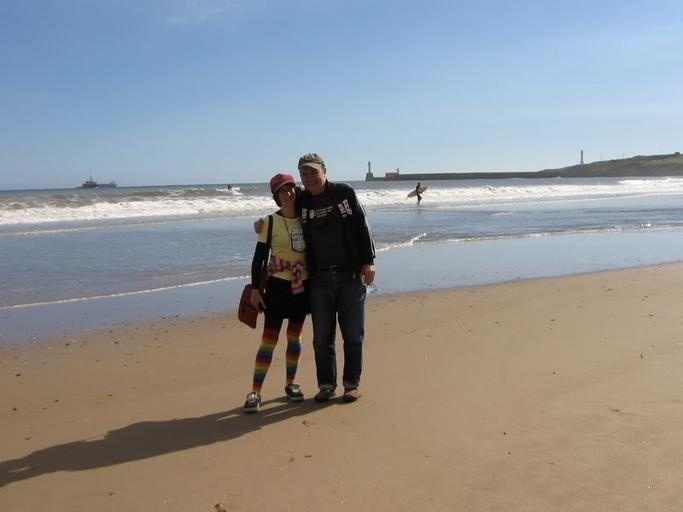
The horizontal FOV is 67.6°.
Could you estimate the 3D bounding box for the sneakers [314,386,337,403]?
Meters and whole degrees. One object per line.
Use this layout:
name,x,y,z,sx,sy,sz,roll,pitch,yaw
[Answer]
sneakers,-0.168,1.357,5.006,0.096,0.108,0.260,-4,-11,23

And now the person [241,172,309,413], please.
person,-0.642,0.317,4.960,0.519,2.186,0.851,1,11,26

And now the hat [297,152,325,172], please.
hat,-0.285,-0.885,4.859,0.241,0.159,0.172,-5,9,-8
